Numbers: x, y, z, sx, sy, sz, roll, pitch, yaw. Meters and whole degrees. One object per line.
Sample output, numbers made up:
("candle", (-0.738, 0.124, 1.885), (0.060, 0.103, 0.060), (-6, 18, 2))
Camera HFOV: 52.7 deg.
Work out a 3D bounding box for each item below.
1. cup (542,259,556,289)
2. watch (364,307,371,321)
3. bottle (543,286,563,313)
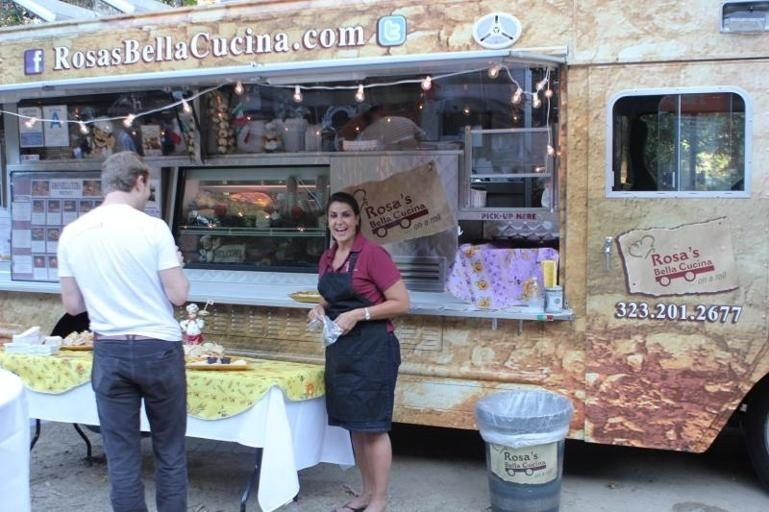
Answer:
("cup", (1.256, 0.143, 5.903), (0.121, 0.211, 0.111), (0, 9, 0))
("watch", (-0.117, 0.411, 5.410), (0.050, 0.073, 0.069), (-5, 28, -9))
("bottle", (1.281, 0.334, 5.855), (0.183, 0.236, 0.173), (0, -5, 0))
